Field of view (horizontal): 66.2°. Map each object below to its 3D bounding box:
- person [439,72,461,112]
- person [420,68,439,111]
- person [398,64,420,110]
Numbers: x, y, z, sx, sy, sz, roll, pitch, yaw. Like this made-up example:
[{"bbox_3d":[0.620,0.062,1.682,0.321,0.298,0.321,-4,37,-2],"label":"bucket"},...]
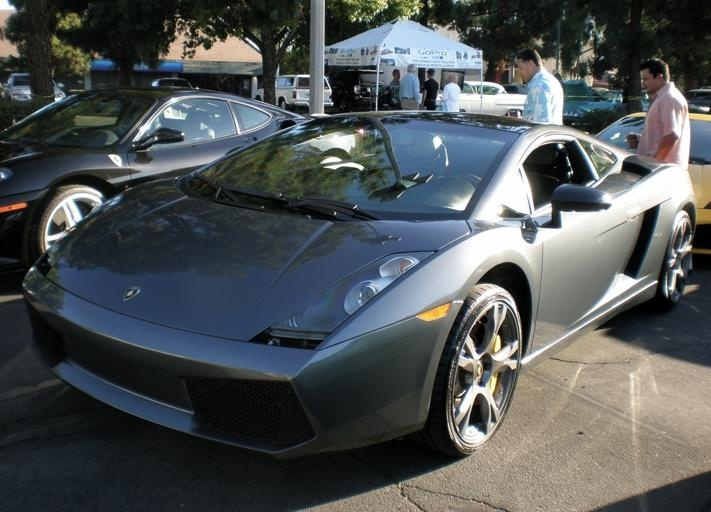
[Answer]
[{"bbox_3d":[2.875,-4.988,16.453,0.513,1.111,1.366,2,15,9],"label":"person"},{"bbox_3d":[2.414,-5.409,17.627,0.479,1.213,0.701,1,14,6],"label":"person"},{"bbox_3d":[1.727,-5.322,17.093,0.604,1.315,0.646,1,14,5],"label":"person"}]
